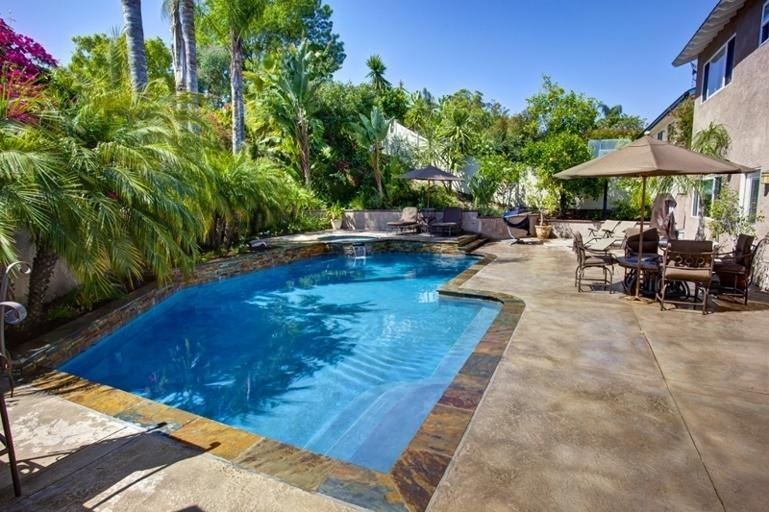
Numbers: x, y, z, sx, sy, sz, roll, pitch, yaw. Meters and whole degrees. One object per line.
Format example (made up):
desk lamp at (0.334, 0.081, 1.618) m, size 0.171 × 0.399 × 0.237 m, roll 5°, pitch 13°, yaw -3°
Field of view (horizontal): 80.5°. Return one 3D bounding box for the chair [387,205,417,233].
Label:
chair at (0.846, -1.572, 19.648) m, size 0.974 × 1.218 × 1.319 m, roll 4°, pitch 6°, yaw 33°

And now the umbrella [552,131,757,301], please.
umbrella at (5.703, -0.783, 10.327) m, size 3.326 × 3.427 × 3.404 m, roll 0°, pitch 17°, yaw 7°

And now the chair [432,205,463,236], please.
chair at (2.542, -1.462, 19.185) m, size 0.994 × 1.240 × 1.544 m, roll 2°, pitch 7°, yaw 25°

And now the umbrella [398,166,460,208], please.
umbrella at (1.798, -3.307, 19.906) m, size 2.241 × 1.811 × 2.303 m, roll -1°, pitch 24°, yaw -3°

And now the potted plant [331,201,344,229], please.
potted plant at (-2.314, -1.890, 22.161) m, size 0.625 × 1.136 × 1.732 m, roll 0°, pitch 6°, yaw -7°
